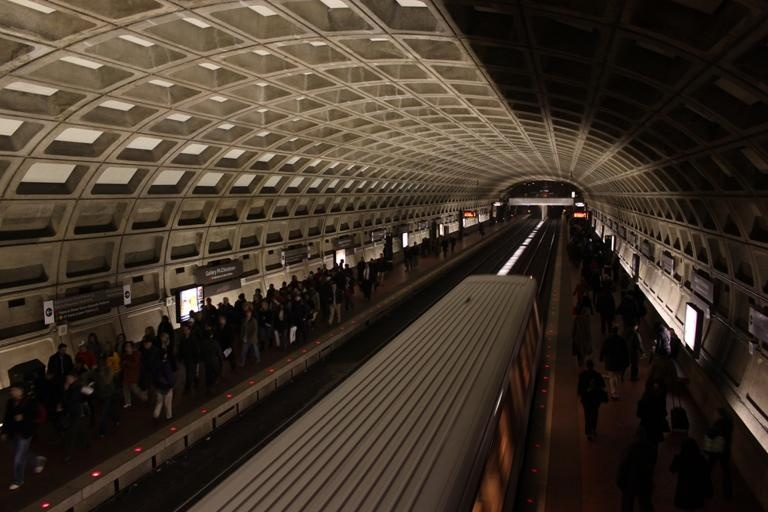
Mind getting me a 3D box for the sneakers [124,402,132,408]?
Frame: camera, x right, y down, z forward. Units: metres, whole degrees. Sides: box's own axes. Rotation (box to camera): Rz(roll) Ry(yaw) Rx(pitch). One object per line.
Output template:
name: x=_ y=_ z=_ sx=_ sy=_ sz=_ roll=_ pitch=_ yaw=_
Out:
sneakers: x=-8.195 y=4.709 z=13.436 sx=0.255 sy=0.168 sz=0.092 roll=10 pitch=-13 yaw=-42
